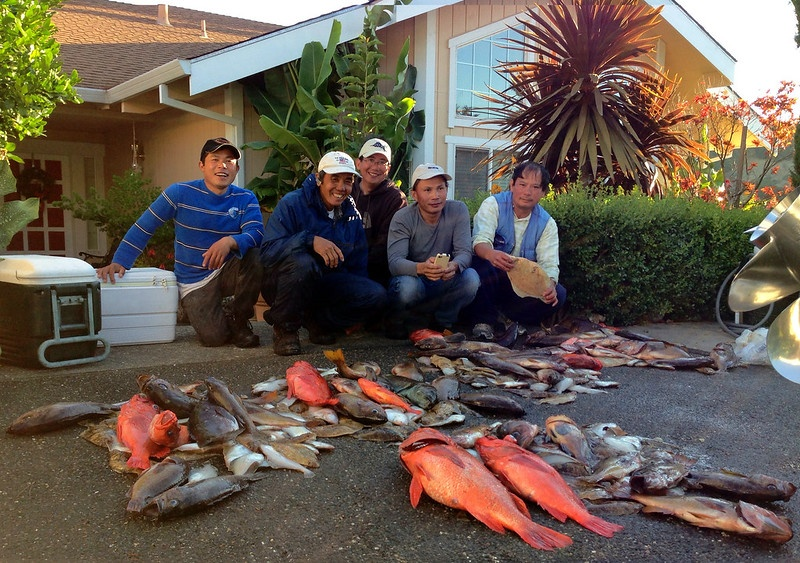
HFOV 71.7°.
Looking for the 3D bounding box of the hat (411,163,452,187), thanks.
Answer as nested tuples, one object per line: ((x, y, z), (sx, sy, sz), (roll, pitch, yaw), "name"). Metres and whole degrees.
((0.244, -1.061, 5.603), (0.254, 0.176, 0.350), (-4, -3, -21), "hat")

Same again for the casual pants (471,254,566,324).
((1.134, 0.260, 5.931), (0.921, 0.706, 0.449), (37, -2, 14), "casual pants")

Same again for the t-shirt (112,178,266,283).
((-2.037, -0.481, 5.449), (1.332, 1.004, 0.481), (0, 13, -7), "t-shirt")

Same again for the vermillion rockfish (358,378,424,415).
((-0.073, 0.773, 3.671), (0.260, 0.060, 0.092), (29, 17, 10), "vermillion rockfish")

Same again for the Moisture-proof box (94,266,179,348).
((-2.516, 0.227, 5.325), (0.689, 0.627, 0.697), (0, 1, -21), "Moisture-proof box")

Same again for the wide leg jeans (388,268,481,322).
((0.320, -0.016, 5.680), (0.892, 0.525, 0.522), (6, 22, -19), "wide leg jeans")

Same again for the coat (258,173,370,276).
((-0.800, -0.410, 5.667), (1.211, 1.160, 0.696), (13, -17, -35), "coat")

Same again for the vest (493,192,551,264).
((1.276, -0.549, 5.864), (0.592, 0.590, 0.349), (20, 0, 1), "vest")

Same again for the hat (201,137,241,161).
((-1.778, -1.287, 5.408), (0.344, 0.230, 0.322), (-3, 14, -20), "hat")

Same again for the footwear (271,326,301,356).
((-1.073, 0.557, 5.136), (0.306, 0.225, 0.293), (3, 13, 4), "footwear")

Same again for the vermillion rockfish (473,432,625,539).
((0.695, 1.039, 2.769), (0.299, 0.155, 0.810), (-15, 29, -38), "vermillion rockfish")

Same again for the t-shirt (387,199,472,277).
((0.332, -0.415, 5.701), (0.871, 0.967, 0.786), (3, -6, 6), "t-shirt")

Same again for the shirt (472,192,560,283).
((1.239, -0.432, 5.985), (0.897, 0.854, 0.477), (10, 36, 12), "shirt")

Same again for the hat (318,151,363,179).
((-0.609, -1.128, 5.264), (0.365, 0.202, 0.287), (0, 13, -7), "hat")

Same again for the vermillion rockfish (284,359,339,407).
((-0.626, 0.702, 3.760), (0.365, 0.187, 0.560), (8, 13, -32), "vermillion rockfish")

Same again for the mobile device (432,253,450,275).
((0.385, -0.161, 5.299), (0.163, 0.309, 0.039), (8, 27, -4), "mobile device")

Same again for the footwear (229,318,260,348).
((-1.534, 0.516, 5.477), (0.431, 0.190, 0.159), (11, 12, 43), "footwear")

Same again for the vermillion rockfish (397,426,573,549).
((0.414, 1.050, 2.750), (0.252, 0.134, 0.653), (-12, 28, -38), "vermillion rockfish")
